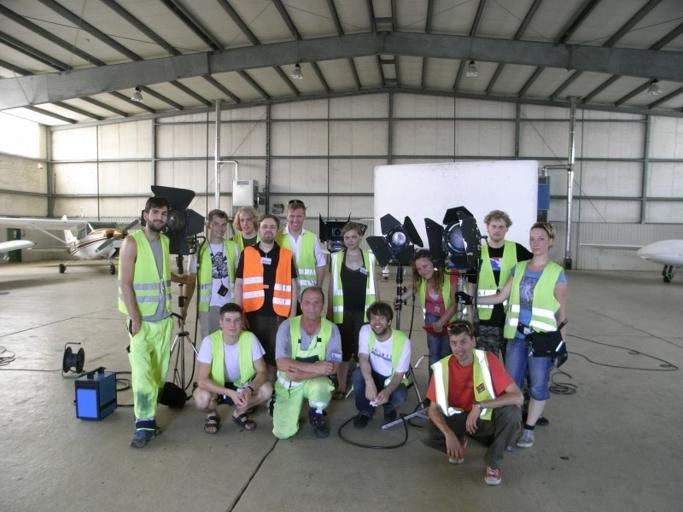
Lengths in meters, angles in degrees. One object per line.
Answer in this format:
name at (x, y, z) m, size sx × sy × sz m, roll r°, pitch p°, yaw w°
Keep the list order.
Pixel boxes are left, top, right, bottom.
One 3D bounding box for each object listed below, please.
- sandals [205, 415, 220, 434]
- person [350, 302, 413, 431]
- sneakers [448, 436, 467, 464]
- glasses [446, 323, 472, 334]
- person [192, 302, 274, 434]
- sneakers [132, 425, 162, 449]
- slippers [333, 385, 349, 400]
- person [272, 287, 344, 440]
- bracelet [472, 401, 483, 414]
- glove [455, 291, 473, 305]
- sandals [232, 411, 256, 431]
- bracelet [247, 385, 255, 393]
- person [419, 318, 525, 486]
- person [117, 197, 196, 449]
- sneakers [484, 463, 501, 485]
sandals at (-1.723, 2.215, 7.652) m, size 0.223 × 0.216 × 0.233 m, roll -3°, pitch 6°, yaw -15°
person at (0.532, 1.440, 7.791) m, size 0.782 × 1.675 × 0.549 m, roll -1°, pitch 5°, yaw 0°
sneakers at (1.470, 2.480, 7.151) m, size 0.135 × 0.163 × 0.425 m, roll -11°, pitch 42°, yaw 45°
glasses at (1.471, 0.893, 7.100) m, size 0.324 × 0.135 × 0.158 m, roll -5°, pitch 6°, yaw -27°
person at (-1.484, 1.470, 7.721) m, size 1.020 × 1.665 × 0.582 m, roll -3°, pitch 6°, yaw -17°
sneakers at (-2.539, 2.341, 7.441) m, size 0.150 × 0.168 × 0.356 m, roll 3°, pitch -3°, yaw 11°
slippers at (-0.020, 2.005, 8.440) m, size 0.225 × 0.161 × 0.597 m, roll -1°, pitch -7°, yaw 9°
person at (-0.470, 1.389, 7.664) m, size 0.899 × 1.928 × 0.567 m, roll -2°, pitch 5°, yaw -1°
bracelet at (1.654, 1.858, 7.028) m, size 0.136 × 0.137 × 0.088 m, roll -14°, pitch 4°, yaw -36°
glove at (1.576, 0.552, 7.417) m, size 0.216 × 0.210 × 0.417 m, roll 0°, pitch 6°, yaw 14°
sandals at (-1.312, 2.212, 7.741) m, size 0.316 × 0.156 × 0.161 m, roll 7°, pitch 11°, yaw 32°
bracelet at (-1.205, 1.761, 7.623) m, size 0.060 × 0.100 × 0.092 m, roll 4°, pitch -10°, yaw -42°
person at (1.621, 1.775, 7.160) m, size 1.133 × 1.762 × 1.077 m, roll -6°, pitch 4°, yaw 34°
person at (-2.565, 0.819, 7.603) m, size 0.746 × 3.156 × 0.623 m, roll -6°, pitch 7°, yaw -39°
sneakers at (1.823, 2.616, 6.931) m, size 0.233 × 0.223 × 0.168 m, roll -2°, pitch 5°, yaw 1°
